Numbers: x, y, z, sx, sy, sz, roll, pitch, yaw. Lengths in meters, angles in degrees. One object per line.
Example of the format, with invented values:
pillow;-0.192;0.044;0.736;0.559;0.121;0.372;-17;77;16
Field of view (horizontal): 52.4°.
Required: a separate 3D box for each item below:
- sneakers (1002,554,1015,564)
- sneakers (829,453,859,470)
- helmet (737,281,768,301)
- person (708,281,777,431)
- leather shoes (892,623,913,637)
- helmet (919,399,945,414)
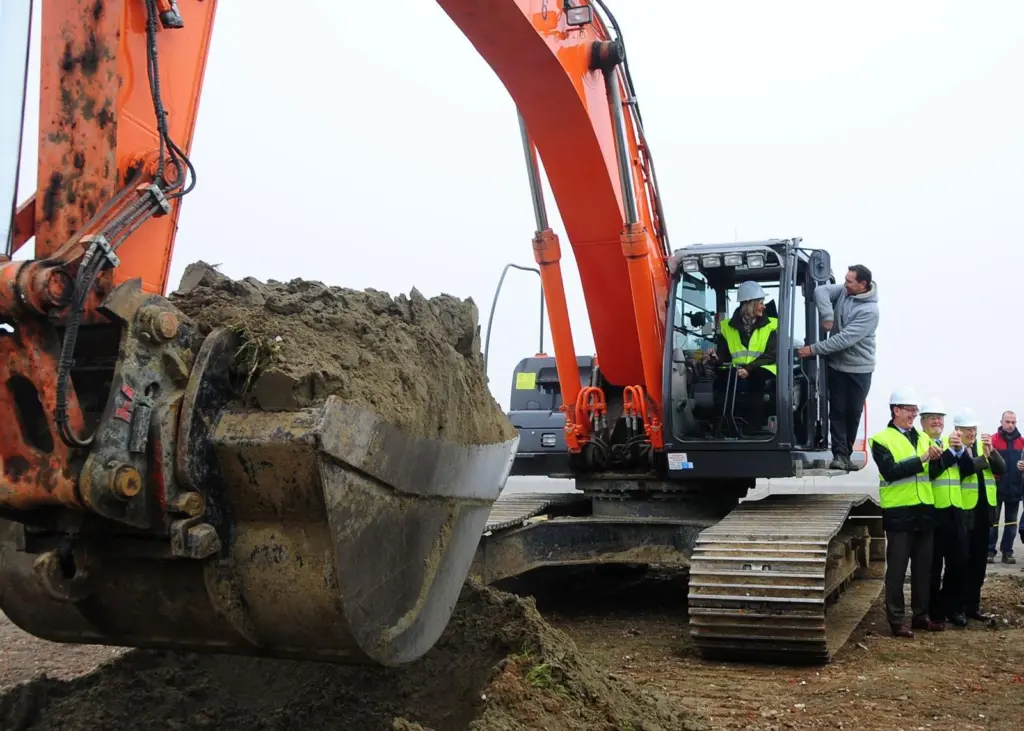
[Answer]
sneakers;5.971;2.336;12.513;0.231;0.105;0.082;-5;3;-20
sneakers;2.972;0.882;9.407;0.378;0.173;0.125;-1;1;-38
helmet;2.049;-0.635;8.975;0.190;0.126;0.158;-5;8;28
person;1.957;-0.069;8.933;0.533;1.333;0.774;0;0;30
leather shoes;3.115;2.113;8.271;0.188;0.090;0.071;-9;-3;25
helmet;3.079;0.316;7.648;0.170;0.117;0.217;2;-9;4
